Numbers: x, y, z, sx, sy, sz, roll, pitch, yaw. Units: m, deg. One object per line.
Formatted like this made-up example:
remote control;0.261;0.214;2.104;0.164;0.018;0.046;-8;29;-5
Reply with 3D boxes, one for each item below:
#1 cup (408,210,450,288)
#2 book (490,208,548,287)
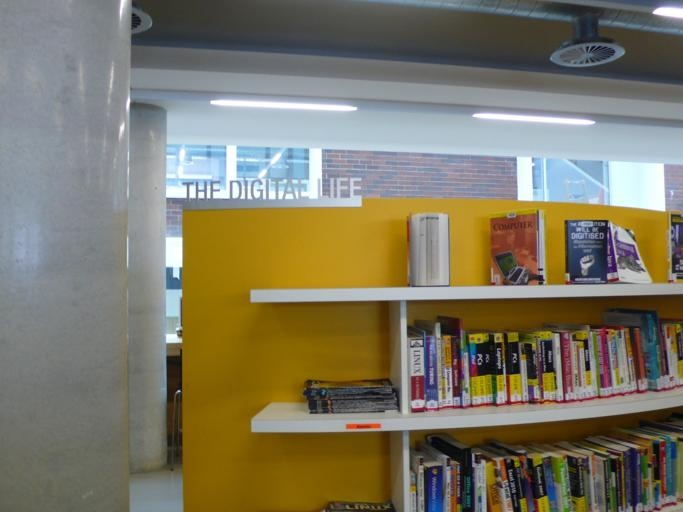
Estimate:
cup;0.461;-0.035;3.913;0.203;0.377;0.090;-1;-5;4
book;0.965;-0.043;4.037;0.086;0.492;0.346;7;-12;-40
